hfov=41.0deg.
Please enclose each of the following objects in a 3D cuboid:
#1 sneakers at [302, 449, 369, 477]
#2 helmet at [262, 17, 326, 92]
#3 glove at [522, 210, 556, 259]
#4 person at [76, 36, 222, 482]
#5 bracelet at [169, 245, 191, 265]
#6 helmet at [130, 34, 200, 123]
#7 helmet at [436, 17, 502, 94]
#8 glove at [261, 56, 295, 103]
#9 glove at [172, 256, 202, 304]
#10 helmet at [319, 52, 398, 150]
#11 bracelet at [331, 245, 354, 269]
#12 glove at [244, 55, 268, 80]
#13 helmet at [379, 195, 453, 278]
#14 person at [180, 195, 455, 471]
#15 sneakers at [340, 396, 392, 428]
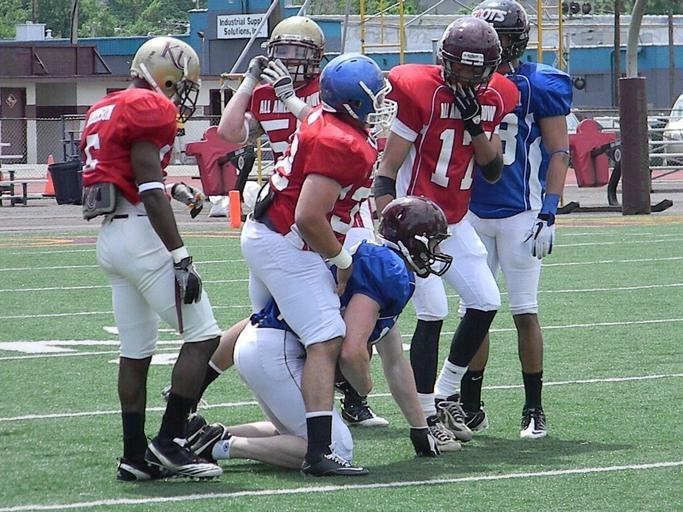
[{"bbox_3d":[-0.048,1.074,4.745,0.377,0.136,0.121,1,-1,-1],"label":"sneakers"},{"bbox_3d":[-0.279,-1.410,6.186,0.440,0.391,0.427,-5,23,-18],"label":"helmet"},{"bbox_3d":[1.227,-0.112,5.565,0.210,0.278,0.193,-2,5,-9],"label":"glove"},{"bbox_3d":[-0.994,0.145,4.756,0.698,2.022,0.344,-2,5,-4],"label":"person"},{"bbox_3d":[-0.815,-0.005,4.659,0.091,0.085,0.086,-24,7,42],"label":"bracelet"},{"bbox_3d":[-0.968,-0.978,5.035,0.426,0.412,0.310,9,10,-42],"label":"helmet"},{"bbox_3d":[0.747,-1.198,5.242,0.371,0.403,0.352,2,-36,-2],"label":"helmet"},{"bbox_3d":[-0.366,-1.071,5.751,0.208,0.149,0.330,-4,22,-17],"label":"glove"},{"bbox_3d":[-0.775,0.127,4.670,0.107,0.232,0.150,-1,10,-35],"label":"glove"},{"bbox_3d":[0.074,-0.859,4.866,0.449,0.396,0.342,3,25,4],"label":"helmet"},{"bbox_3d":[0.005,0.013,4.715,0.105,0.090,0.110,-34,9,1],"label":"bracelet"},{"bbox_3d":[-0.537,-1.184,5.692,0.069,0.152,0.124,37,-2,33],"label":"glove"},{"bbox_3d":[0.395,-0.110,4.977,0.487,0.426,0.356,7,12,6],"label":"helmet"},{"bbox_3d":[-0.055,0.434,5.038,1.638,1.493,0.819,3,-6,-17],"label":"person"},{"bbox_3d":[0.182,1.000,5.767,0.366,0.218,0.121,1,-1,3],"label":"sneakers"}]
